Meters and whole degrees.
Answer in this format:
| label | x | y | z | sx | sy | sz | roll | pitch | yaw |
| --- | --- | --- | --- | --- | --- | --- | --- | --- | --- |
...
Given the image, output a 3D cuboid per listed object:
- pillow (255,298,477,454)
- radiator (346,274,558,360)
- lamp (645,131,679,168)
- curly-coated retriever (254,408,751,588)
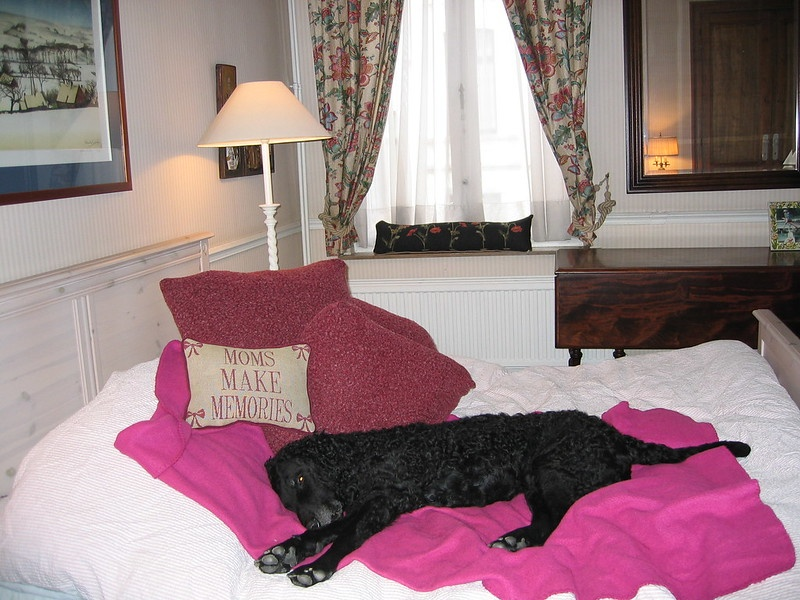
| label | x | y | z | sx | sy | sz | roll | pitch | yaw |
| --- | --- | --- | --- | --- | --- | --- | --- | --- | --- |
| pillow | -0.128 | 0.221 | 2.016 | 0.533 | 0.459 | 0.586 | 3 | 11 | -20 |
| radiator | 0.482 | 0.122 | 3.734 | 1.723 | 0.488 | 0.662 | 3 | 13 | -3 |
| lamp | 1.587 | -0.918 | 3.509 | 0.178 | 0.210 | 0.099 | 4 | 19 | 19 |
| curly-coated retriever | 0.306 | 0.491 | 1.570 | 1.310 | 0.383 | 0.351 | -5 | -28 | -4 |
